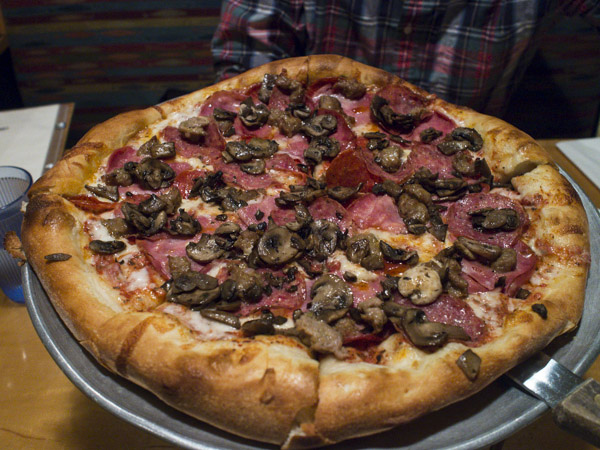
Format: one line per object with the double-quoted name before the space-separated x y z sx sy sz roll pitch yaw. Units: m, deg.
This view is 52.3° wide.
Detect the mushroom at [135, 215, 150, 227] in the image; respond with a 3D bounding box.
"mushroom" -1.220 -0.034 4.755 0.091 0.026 0.088 53 41 5

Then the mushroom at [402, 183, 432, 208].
"mushroom" 0.950 -0.258 4.933 0.247 0.073 0.132 36 31 0

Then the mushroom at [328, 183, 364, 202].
"mushroom" 0.371 -0.268 4.923 0.218 0.074 0.155 -16 29 2

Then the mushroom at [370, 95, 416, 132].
"mushroom" 0.808 -0.966 5.404 0.367 0.094 0.338 -5 45 -30

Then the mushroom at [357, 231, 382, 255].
"mushroom" 0.531 0.138 4.610 0.130 0.068 0.231 -25 52 -24

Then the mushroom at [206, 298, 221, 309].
"mushroom" -0.624 0.569 4.404 0.081 0.019 0.070 -10 44 0

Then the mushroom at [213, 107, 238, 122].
"mushroom" -0.667 -0.978 5.452 0.176 0.049 0.138 1 45 -2

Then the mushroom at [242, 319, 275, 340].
"mushroom" -0.294 0.724 4.275 0.158 0.046 0.147 1 18 -22

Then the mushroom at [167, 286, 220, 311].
"mushroom" -0.736 0.525 4.393 0.252 0.057 0.174 -20 37 -9

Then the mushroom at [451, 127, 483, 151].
"mushroom" 1.442 -0.717 5.360 0.236 0.064 0.188 38 54 13

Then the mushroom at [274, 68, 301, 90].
"mushroom" -0.122 -1.313 5.596 0.233 0.109 0.156 24 84 14

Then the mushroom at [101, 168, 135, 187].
"mushroom" -1.499 -0.364 5.029 0.200 0.147 0.087 -14 47 12

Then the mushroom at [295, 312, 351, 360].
"mushroom" 0.141 0.773 4.248 0.404 0.106 0.199 36 76 -2

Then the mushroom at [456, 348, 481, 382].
"mushroom" 1.151 0.954 4.146 0.146 0.114 0.165 -32 56 -28

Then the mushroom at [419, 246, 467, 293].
"mushroom" 1.058 0.321 4.513 0.333 0.085 0.312 -30 59 -30

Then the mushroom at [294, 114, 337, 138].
"mushroom" 0.140 -0.856 5.286 0.283 0.093 0.194 -6 41 4

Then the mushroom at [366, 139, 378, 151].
"mushroom" 0.614 -0.676 5.212 0.097 0.028 0.097 -42 57 -18

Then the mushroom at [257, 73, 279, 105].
"mushroom" -0.292 -1.252 5.665 0.169 0.078 0.284 19 78 10

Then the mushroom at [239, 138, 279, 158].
"mushroom" -0.324 -0.662 5.256 0.259 0.057 0.179 5 46 3

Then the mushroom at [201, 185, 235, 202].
"mushroom" -0.675 -0.259 4.975 0.209 0.078 0.130 -6 47 -5

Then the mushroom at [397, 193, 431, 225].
"mushroom" 0.888 -0.113 4.878 0.202 0.095 0.256 -39 77 -13

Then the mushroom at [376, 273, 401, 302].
"mushroom" 0.637 0.452 4.447 0.130 0.046 0.192 11 45 28

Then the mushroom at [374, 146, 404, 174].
"mushroom" 0.748 -0.546 5.110 0.220 0.076 0.221 -1 51 3

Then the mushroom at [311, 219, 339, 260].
"mushroom" 0.185 0.114 4.645 0.222 0.070 0.260 5 76 1

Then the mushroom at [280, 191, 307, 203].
"mushroom" -0.046 -0.224 4.845 0.129 0.036 0.124 -14 23 -9

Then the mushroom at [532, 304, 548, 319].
"mushroom" 1.699 0.609 4.347 0.081 0.042 0.097 7 41 7

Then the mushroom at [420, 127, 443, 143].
"mushroom" 1.150 -0.796 5.372 0.179 0.059 0.106 -19 53 -9

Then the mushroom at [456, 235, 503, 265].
"mushroom" 1.346 0.201 4.638 0.319 0.100 0.165 32 65 12

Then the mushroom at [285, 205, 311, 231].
"mushroom" -0.002 -0.053 4.733 0.152 0.050 0.187 1 61 23

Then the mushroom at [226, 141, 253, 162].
"mushroom" -0.521 -0.617 5.167 0.131 0.060 0.210 -34 57 -26

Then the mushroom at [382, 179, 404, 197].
"mushroom" 0.733 -0.294 4.900 0.156 0.056 0.115 41 66 14

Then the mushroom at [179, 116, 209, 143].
"mushroom" -0.902 -0.819 5.228 0.237 0.072 0.211 1 53 2

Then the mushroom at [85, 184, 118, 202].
"mushroom" -1.615 -0.252 5.046 0.296 0.080 0.106 10 66 9

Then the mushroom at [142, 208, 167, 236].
"mushroom" -1.134 -0.032 4.838 0.176 0.060 0.232 -30 25 -26

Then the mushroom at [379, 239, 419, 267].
"mushroom" 0.737 0.216 4.664 0.281 0.109 0.155 31 80 4

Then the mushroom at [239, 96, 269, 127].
"mushroom" -0.407 -0.982 5.388 0.239 0.107 0.223 29 73 7

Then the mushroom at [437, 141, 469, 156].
"mushroom" 1.309 -0.662 5.275 0.214 0.043 0.116 -11 74 -10

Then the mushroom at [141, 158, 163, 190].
"mushroom" -1.211 -0.425 5.009 0.194 0.061 0.229 -18 83 -23

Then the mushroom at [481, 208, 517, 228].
"mushroom" 1.527 -0.049 4.708 0.278 0.074 0.147 -3 47 -6

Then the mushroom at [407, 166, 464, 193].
"mushroom" 1.090 -0.343 4.966 0.318 0.114 0.221 33 87 12

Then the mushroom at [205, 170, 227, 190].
"mushroom" -0.704 -0.355 5.056 0.161 0.067 0.153 -30 99 -30
